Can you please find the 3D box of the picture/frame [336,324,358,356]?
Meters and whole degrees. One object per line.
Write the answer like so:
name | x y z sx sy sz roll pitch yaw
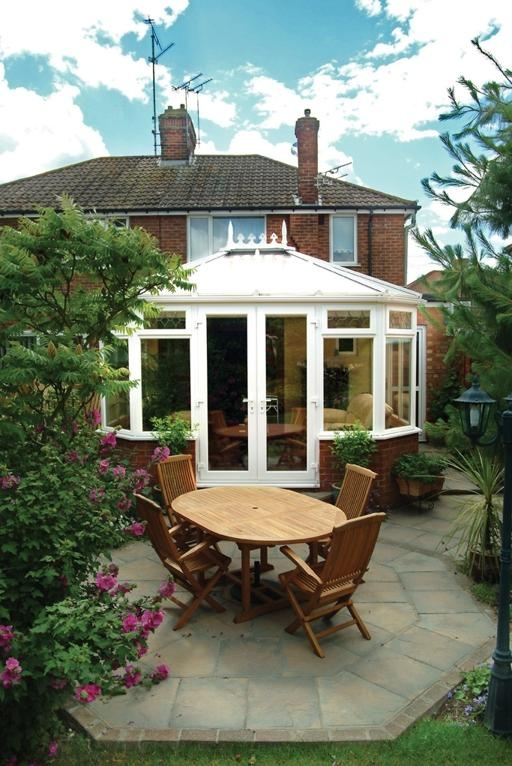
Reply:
picture/frame | 1.213 -0.593 8.509 0.439 0.477 0.048 -1 8 6

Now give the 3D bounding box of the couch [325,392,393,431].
couch | 1.257 0.419 8.523 0.612 0.526 0.601 2 6 -6

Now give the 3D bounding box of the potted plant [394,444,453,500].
potted plant | 2.200 1.297 8.534 0.656 0.557 0.748 13 -16 21

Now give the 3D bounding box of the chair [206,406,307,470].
chair | 0.023 0.728 8.941 1.145 0.716 0.816 2 5 5
